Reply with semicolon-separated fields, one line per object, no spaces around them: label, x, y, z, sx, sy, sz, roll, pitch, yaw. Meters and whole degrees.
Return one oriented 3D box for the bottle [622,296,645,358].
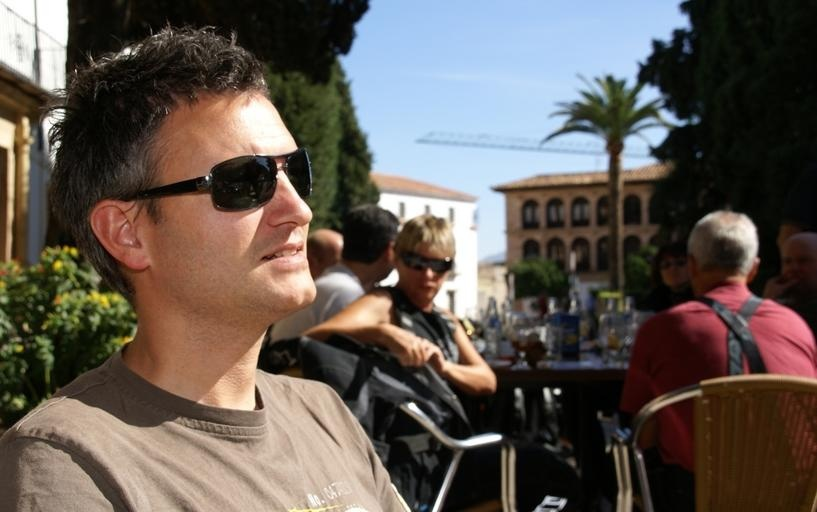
bottle;1.416;0.427;6.206;0.223;0.324;0.113;-2;-8;26

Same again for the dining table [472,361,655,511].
dining table;0.992;1.092;6.294;0.843;0.912;0.872;-2;-2;35
